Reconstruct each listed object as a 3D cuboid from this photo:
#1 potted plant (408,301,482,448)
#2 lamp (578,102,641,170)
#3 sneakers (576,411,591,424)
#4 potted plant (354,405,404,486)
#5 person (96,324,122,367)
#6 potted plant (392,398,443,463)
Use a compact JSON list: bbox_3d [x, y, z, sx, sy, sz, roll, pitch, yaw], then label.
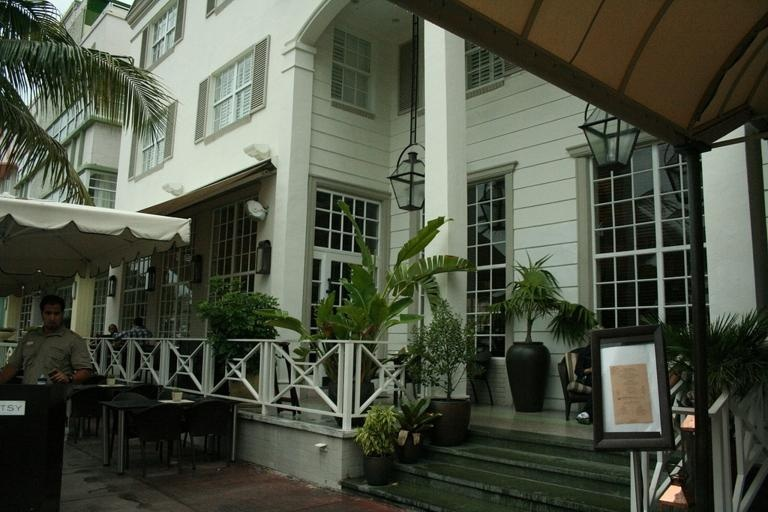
[{"bbox_3d":[0.809,1.656,9.012,1.123,2.041,1.002,5,-13,-33],"label":"potted plant"},{"bbox_3d":[3.224,-1.807,8.699,0.757,1.234,0.758,-2,-17,33],"label":"lamp"},{"bbox_3d":[3.001,2.420,9.333,0.111,0.113,0.244,-4,-7,40],"label":"sneakers"},{"bbox_3d":[-0.057,2.500,8.299,0.635,0.999,0.434,2,-11,-15],"label":"potted plant"},{"bbox_3d":[-6.652,2.014,14.844,0.447,0.710,0.510,-13,-29,26],"label":"person"},{"bbox_3d":[0.374,2.414,8.583,0.817,0.840,0.703,-4,-27,14],"label":"potted plant"}]
